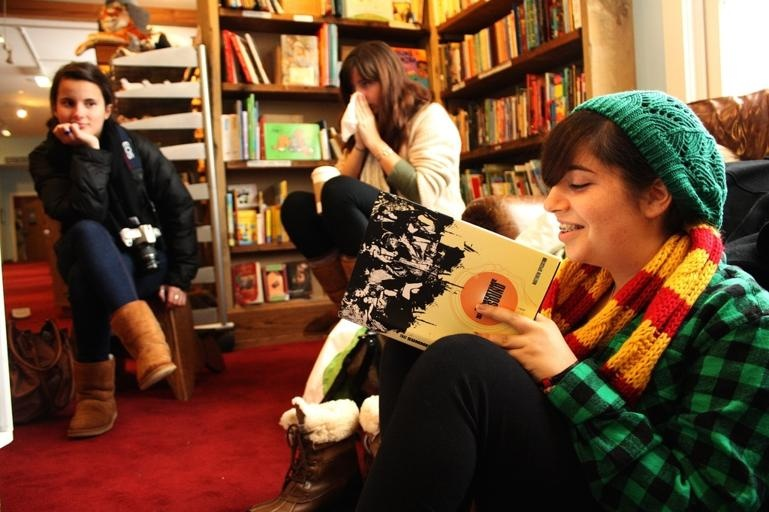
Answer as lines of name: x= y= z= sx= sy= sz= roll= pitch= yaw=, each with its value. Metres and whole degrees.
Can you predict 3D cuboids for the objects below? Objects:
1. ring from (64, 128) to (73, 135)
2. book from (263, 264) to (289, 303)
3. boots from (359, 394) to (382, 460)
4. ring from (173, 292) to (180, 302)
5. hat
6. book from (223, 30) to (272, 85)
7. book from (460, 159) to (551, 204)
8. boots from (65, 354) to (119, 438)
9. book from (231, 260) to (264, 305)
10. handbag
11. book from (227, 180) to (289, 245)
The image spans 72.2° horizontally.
ring: x=-1.314 y=-0.516 z=2.200 sx=0.026 sy=0.019 sz=0.025 roll=1 pitch=15 yaw=0
book: x=-0.718 y=0.192 z=3.466 sx=0.151 sy=0.262 sz=0.195 roll=3 pitch=-14 yaw=-41
boots: x=-0.038 y=0.482 z=1.491 sx=0.067 sy=0.193 sz=0.154 roll=3 pitch=-1 yaw=-1
ring: x=-0.940 y=0.188 z=2.382 sx=0.023 sy=0.031 sz=0.031 roll=7 pitch=16 yaw=5
hat: x=0.608 y=-0.221 z=1.160 sx=0.148 sy=0.283 sz=0.243 roll=-34 pitch=3 yaw=-29
book: x=-0.861 y=-1.212 z=3.281 sx=0.258 sy=0.314 sz=0.110 roll=-4 pitch=7 yaw=-15
book: x=0.732 y=-0.452 z=3.245 sx=0.469 sy=0.177 sz=0.366 roll=-3 pitch=5 yaw=-38
boots: x=-1.137 y=0.550 z=2.042 sx=0.149 sy=0.253 sz=0.191 roll=-5 pitch=7 yaw=-16
book: x=-0.878 y=0.183 z=3.385 sx=0.197 sy=0.259 sz=0.071 roll=2 pitch=-4 yaw=-13
handbag: x=-1.452 y=0.481 z=2.232 sx=0.223 sy=0.405 sz=0.268 roll=-7 pitch=8 yaw=-34
book: x=-0.730 y=-0.220 z=3.553 sx=0.392 sy=0.506 sz=0.531 roll=-3 pitch=2 yaw=12
